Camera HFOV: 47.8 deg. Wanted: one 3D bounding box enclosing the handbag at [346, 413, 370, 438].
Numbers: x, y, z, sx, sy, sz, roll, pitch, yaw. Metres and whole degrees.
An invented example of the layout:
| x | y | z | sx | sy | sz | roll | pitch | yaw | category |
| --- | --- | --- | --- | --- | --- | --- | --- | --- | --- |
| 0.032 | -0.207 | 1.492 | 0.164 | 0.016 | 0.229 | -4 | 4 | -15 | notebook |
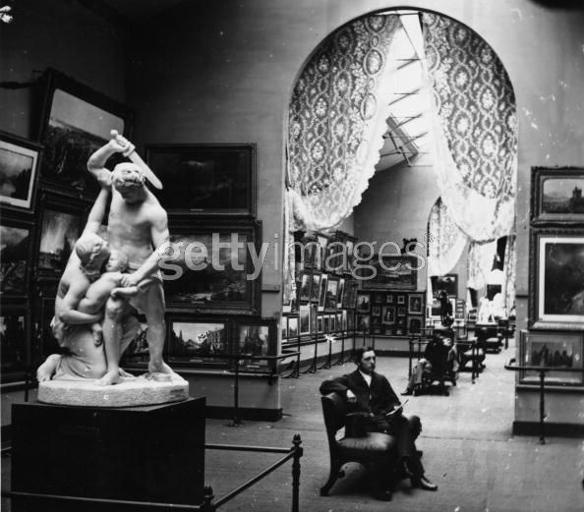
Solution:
| x | y | z | sx | sy | sz | roll | pitch | yaw | category |
| --- | --- | --- | --- | --- | --- | --- | --- | --- | --- |
| 0.656 | 1.695 | 6.653 | 0.193 | 0.249 | 0.213 | -3 | -6 | 18 | handbag |

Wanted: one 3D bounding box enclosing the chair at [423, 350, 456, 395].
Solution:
| x | y | z | sx | sy | sz | roll | pitch | yaw | category |
| --- | --- | --- | --- | --- | --- | --- | --- | --- | --- |
| 2.839 | 2.269 | 12.854 | 0.581 | 0.934 | 0.665 | -7 | -11 | 37 | chair |

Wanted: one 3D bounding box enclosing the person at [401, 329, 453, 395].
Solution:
| x | y | z | sx | sy | sz | roll | pitch | yaw | category |
| --- | --- | --- | --- | --- | --- | --- | --- | --- | --- |
| 2.643 | 2.127 | 13.017 | 0.804 | 1.502 | 0.635 | 14 | -31 | -5 | person |

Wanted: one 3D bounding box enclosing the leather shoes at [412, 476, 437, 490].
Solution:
| x | y | z | sx | sy | sz | roll | pitch | yaw | category |
| --- | --- | --- | --- | --- | --- | --- | --- | --- | --- |
| 1.355 | 2.342 | 6.810 | 0.307 | 0.155 | 0.109 | -10 | -5 | 30 | leather shoes |

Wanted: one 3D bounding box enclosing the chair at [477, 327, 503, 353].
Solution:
| x | y | z | sx | sy | sz | roll | pitch | yaw | category |
| --- | --- | --- | --- | --- | --- | --- | --- | --- | --- |
| 5.551 | 2.366 | 18.637 | 0.588 | 0.828 | 1.102 | 1 | -1 | 19 | chair |

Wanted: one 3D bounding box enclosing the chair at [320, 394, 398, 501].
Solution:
| x | y | z | sx | sy | sz | roll | pitch | yaw | category |
| --- | --- | --- | --- | --- | --- | --- | --- | --- | --- |
| 0.739 | 1.923 | 6.832 | 0.765 | 1.122 | 0.790 | -2 | -6 | 17 | chair |
